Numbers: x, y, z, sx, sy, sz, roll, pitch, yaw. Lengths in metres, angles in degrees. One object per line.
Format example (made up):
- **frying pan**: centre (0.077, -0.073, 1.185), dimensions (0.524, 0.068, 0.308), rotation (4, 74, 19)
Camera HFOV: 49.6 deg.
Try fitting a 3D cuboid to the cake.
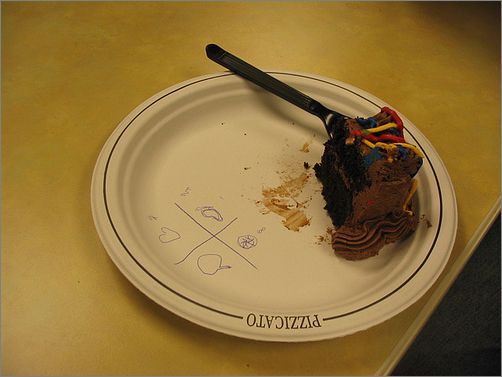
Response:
- **cake**: centre (0.433, 0.003, 1.973), dimensions (0.221, 0.383, 0.407), rotation (-1, 45, -18)
